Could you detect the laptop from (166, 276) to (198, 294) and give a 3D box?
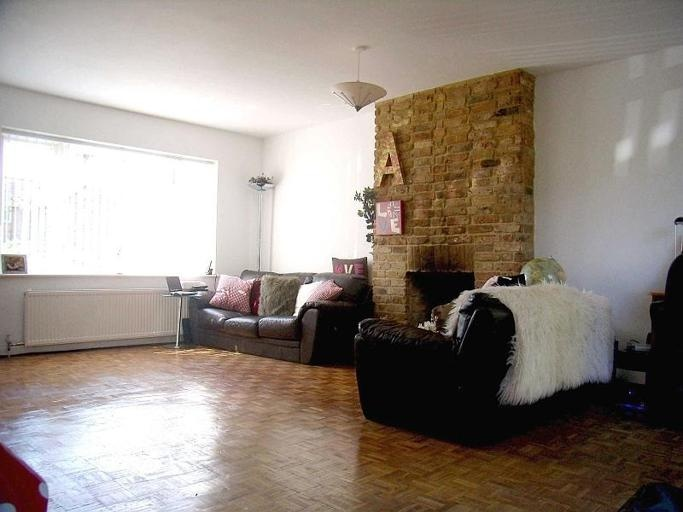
[{"bbox_3d":[-2.480,0.440,7.058,0.223,0.304,0.300,-6,-3,29],"label":"laptop"}]

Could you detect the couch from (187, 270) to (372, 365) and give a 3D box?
[{"bbox_3d":[-0.934,0.789,6.754,2.735,1.090,1.216,1,2,37],"label":"couch"}]

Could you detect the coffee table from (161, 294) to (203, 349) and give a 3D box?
[{"bbox_3d":[-2.409,0.946,7.120,0.514,0.853,0.593,4,-3,15],"label":"coffee table"}]

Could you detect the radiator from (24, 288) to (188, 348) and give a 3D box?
[{"bbox_3d":[-3.519,0.837,6.739,1.817,0.730,0.235,-3,-1,2],"label":"radiator"}]

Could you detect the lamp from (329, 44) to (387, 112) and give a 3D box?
[{"bbox_3d":[0.188,-1.884,5.024,0.611,0.660,0.569,2,-1,-27],"label":"lamp"}]
